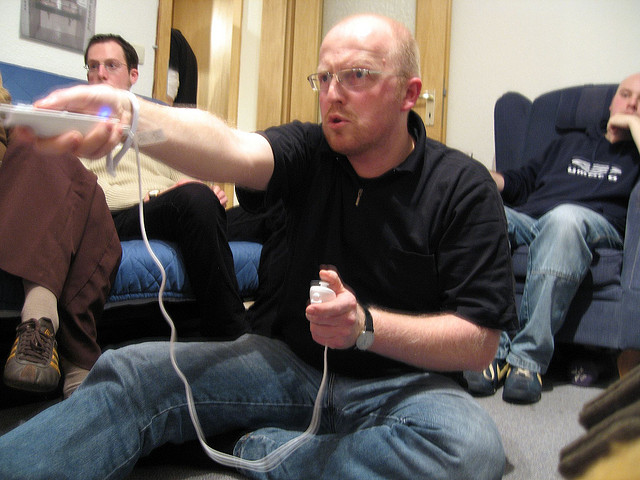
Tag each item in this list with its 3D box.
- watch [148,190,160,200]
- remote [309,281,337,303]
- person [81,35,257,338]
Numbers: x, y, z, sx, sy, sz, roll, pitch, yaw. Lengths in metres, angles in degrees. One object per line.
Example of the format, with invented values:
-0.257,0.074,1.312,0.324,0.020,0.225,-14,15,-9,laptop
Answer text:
-0.621,-0.174,1.852,0.039,0.019,0.059,2,21,14,watch
0.005,0.103,1.001,0.040,0.046,0.033,6,-3,7,remote
-0.560,-0.186,1.750,0.486,1.001,0.407,-2,21,20,person
